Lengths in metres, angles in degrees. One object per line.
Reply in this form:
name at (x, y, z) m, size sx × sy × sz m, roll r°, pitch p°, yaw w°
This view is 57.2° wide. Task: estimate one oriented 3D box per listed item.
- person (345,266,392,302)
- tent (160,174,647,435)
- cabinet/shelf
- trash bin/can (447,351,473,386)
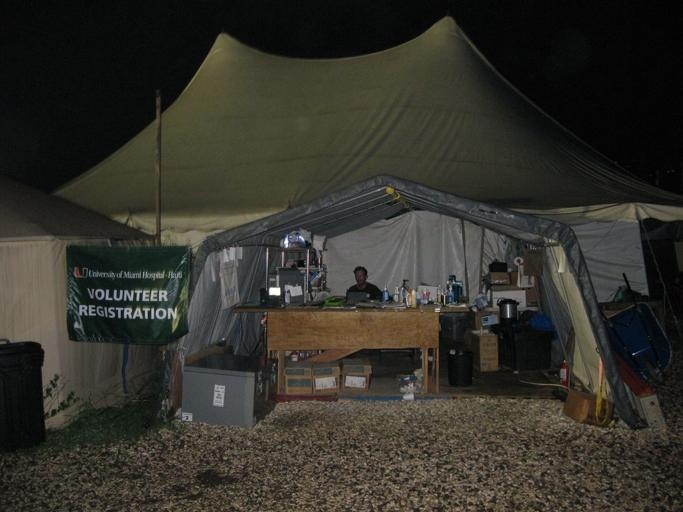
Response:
person at (0.386, 0.608, 11.707) m, size 0.669 × 0.793 × 0.385 m, roll -6°, pitch -12°, yaw 12°
tent at (0.900, 0.134, 11.091) m, size 6.237 × 3.445 × 5.528 m, roll -5°, pitch 11°, yaw 14°
cabinet/shelf at (-0.791, 0.256, 10.166) m, size 0.718 × 0.917 × 0.844 m, roll -1°, pitch 8°, yaw 1°
trash bin/can at (1.813, 1.760, 9.814) m, size 0.427 × 0.506 × 0.467 m, roll 0°, pitch -5°, yaw 1°
